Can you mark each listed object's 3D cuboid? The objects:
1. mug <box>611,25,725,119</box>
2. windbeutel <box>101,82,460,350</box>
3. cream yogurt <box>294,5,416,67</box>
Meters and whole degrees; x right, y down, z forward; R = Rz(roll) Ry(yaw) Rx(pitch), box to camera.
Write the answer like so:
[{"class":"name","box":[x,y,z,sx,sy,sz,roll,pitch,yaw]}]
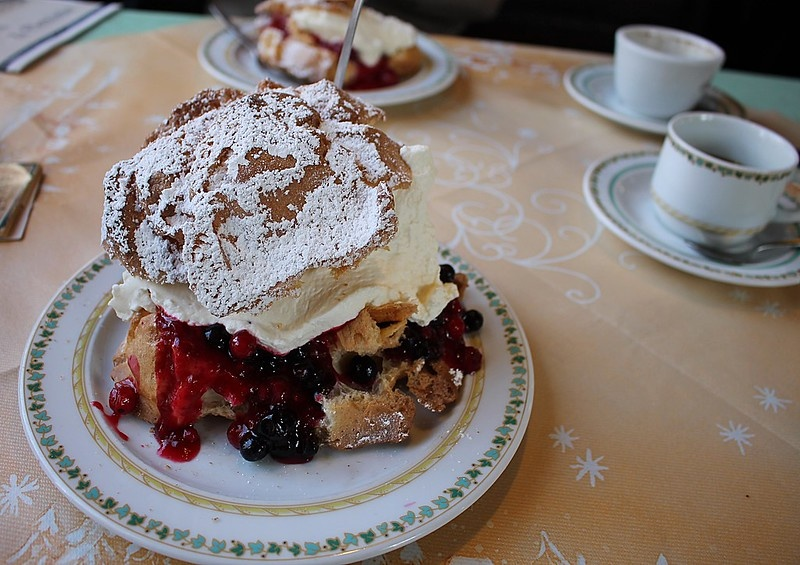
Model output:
[{"class":"mug","box":[0.546,-0.446,1.529,0.220,0.156,0.225,-8,42,-11]},{"class":"windbeutel","box":[-0.277,-0.155,1.659,0.688,0.535,0.630,-8,28,-15]},{"class":"cream yogurt","box":[-0.140,-0.828,2.383,0.308,0.096,0.233,31,33,25]}]
